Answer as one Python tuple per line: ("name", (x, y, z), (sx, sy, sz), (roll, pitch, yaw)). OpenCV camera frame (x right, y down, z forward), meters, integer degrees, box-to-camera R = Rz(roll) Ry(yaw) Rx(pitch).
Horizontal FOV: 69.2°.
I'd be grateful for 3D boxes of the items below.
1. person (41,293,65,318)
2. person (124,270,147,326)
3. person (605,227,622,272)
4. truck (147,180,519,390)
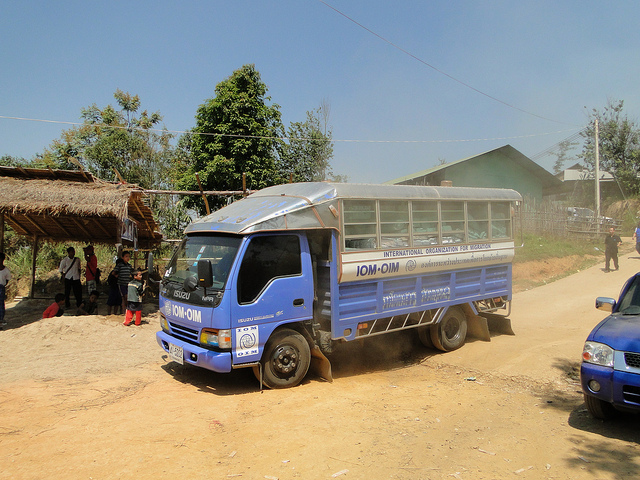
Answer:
("person", (-8.398, 2.083, 14.619), (0.508, 0.775, 0.540), (0, 15, -37))
("person", (-5.484, 1.696, 13.633), (0.481, 1.661, 1.074), (-1, 0, -21))
("person", (13.731, 0.443, 21.753), (0.613, 2.038, 1.428), (-1, 0, 32))
("truck", (0.667, 0.777, 11.690), (8.716, 4.288, 4.000), (0, 1, -37))
